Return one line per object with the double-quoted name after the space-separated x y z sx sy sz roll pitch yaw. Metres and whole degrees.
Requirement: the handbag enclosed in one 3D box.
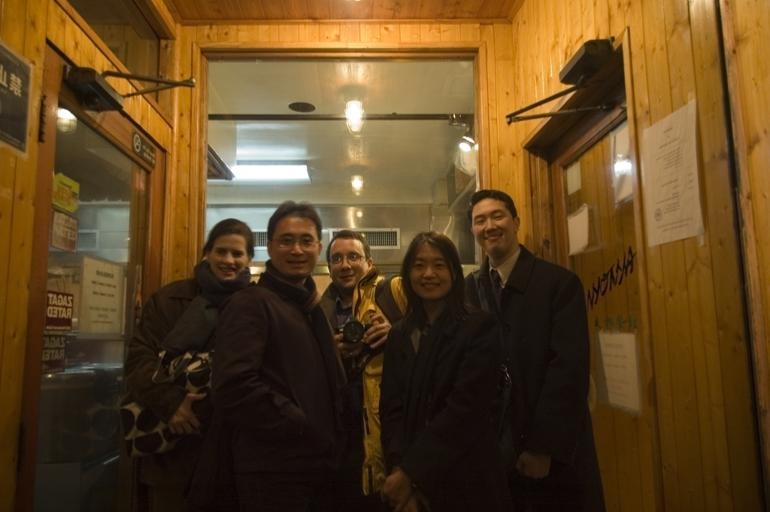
-0.996 0.707 2.620 0.437 0.515 0.187 8 6 29 "handbag"
